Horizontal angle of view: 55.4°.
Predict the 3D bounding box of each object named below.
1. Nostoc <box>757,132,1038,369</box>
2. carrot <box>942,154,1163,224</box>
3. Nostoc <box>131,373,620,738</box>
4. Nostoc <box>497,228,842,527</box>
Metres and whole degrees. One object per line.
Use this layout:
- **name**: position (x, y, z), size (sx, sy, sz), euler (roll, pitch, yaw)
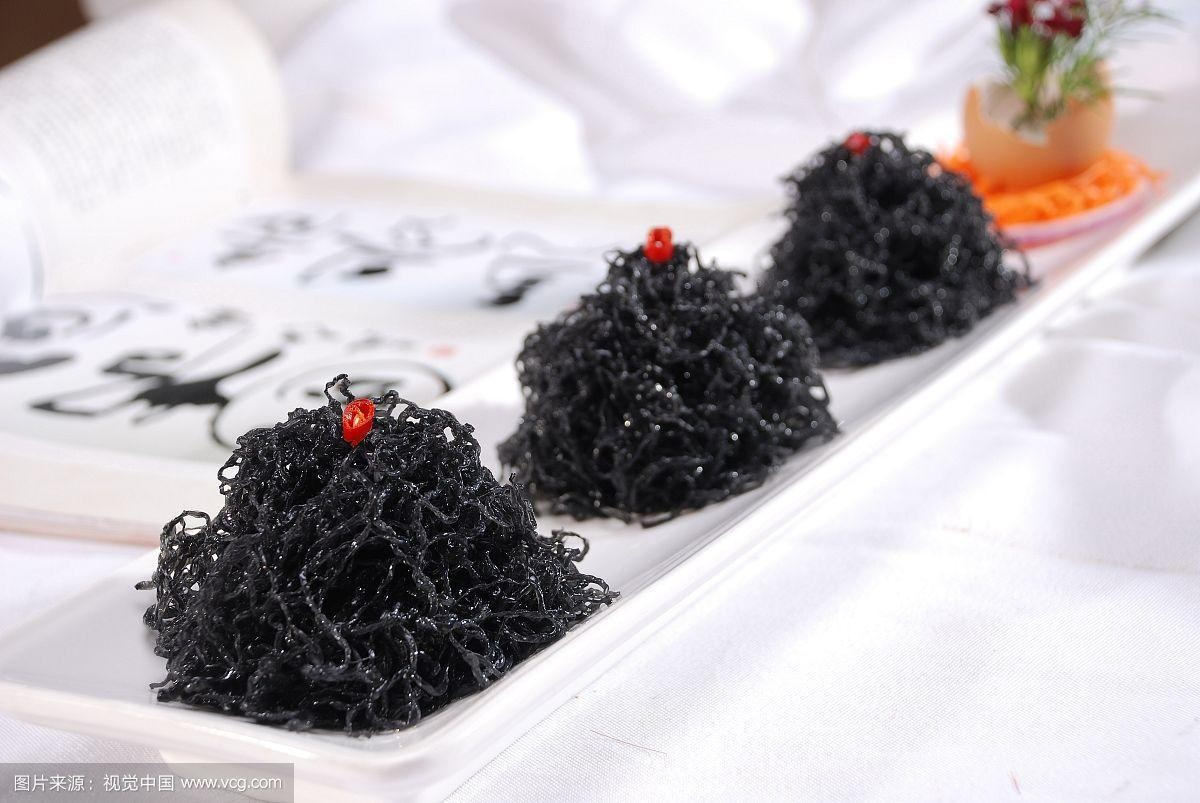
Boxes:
- **Nostoc**: position (0.330, -0.163, 1.441), size (0.321, 0.301, 0.128), euler (-35, -12, -11)
- **carrot**: position (0.628, -0.280, 1.535), size (0.176, 0.034, 0.203), euler (9, 28, 38)
- **Nostoc**: position (-0.186, 0.110, 0.930), size (0.377, 0.233, 0.237), euler (-10, 20, -20)
- **Nostoc**: position (0.064, -0.021, 1.022), size (0.343, 0.199, 0.309), euler (-4, 27, 1)
